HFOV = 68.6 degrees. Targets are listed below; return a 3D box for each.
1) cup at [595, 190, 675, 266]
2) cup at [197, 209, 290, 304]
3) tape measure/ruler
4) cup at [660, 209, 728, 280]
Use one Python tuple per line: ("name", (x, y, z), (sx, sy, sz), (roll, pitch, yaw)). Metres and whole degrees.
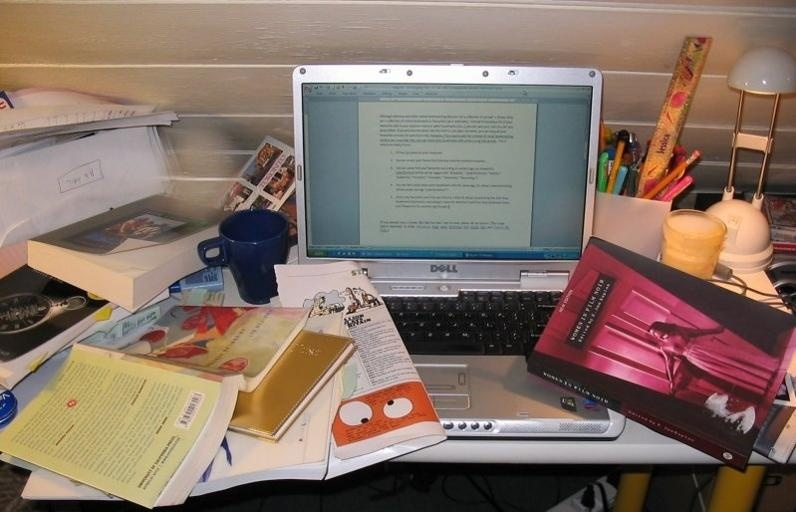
("cup", (0.455, -0.065, 1.224), (0.165, 0.118, 0.202), (2, 24, 9))
("cup", (-0.276, -0.014, 1.211), (0.233, 0.182, 0.137), (-13, 47, -19))
("tape measure/ruler", (0.539, -0.273, 1.150), (0.070, 0.293, 0.186), (14, 33, 27))
("cup", (0.555, -0.023, 1.162), (0.123, 0.130, 0.130), (-2, 28, 1))
